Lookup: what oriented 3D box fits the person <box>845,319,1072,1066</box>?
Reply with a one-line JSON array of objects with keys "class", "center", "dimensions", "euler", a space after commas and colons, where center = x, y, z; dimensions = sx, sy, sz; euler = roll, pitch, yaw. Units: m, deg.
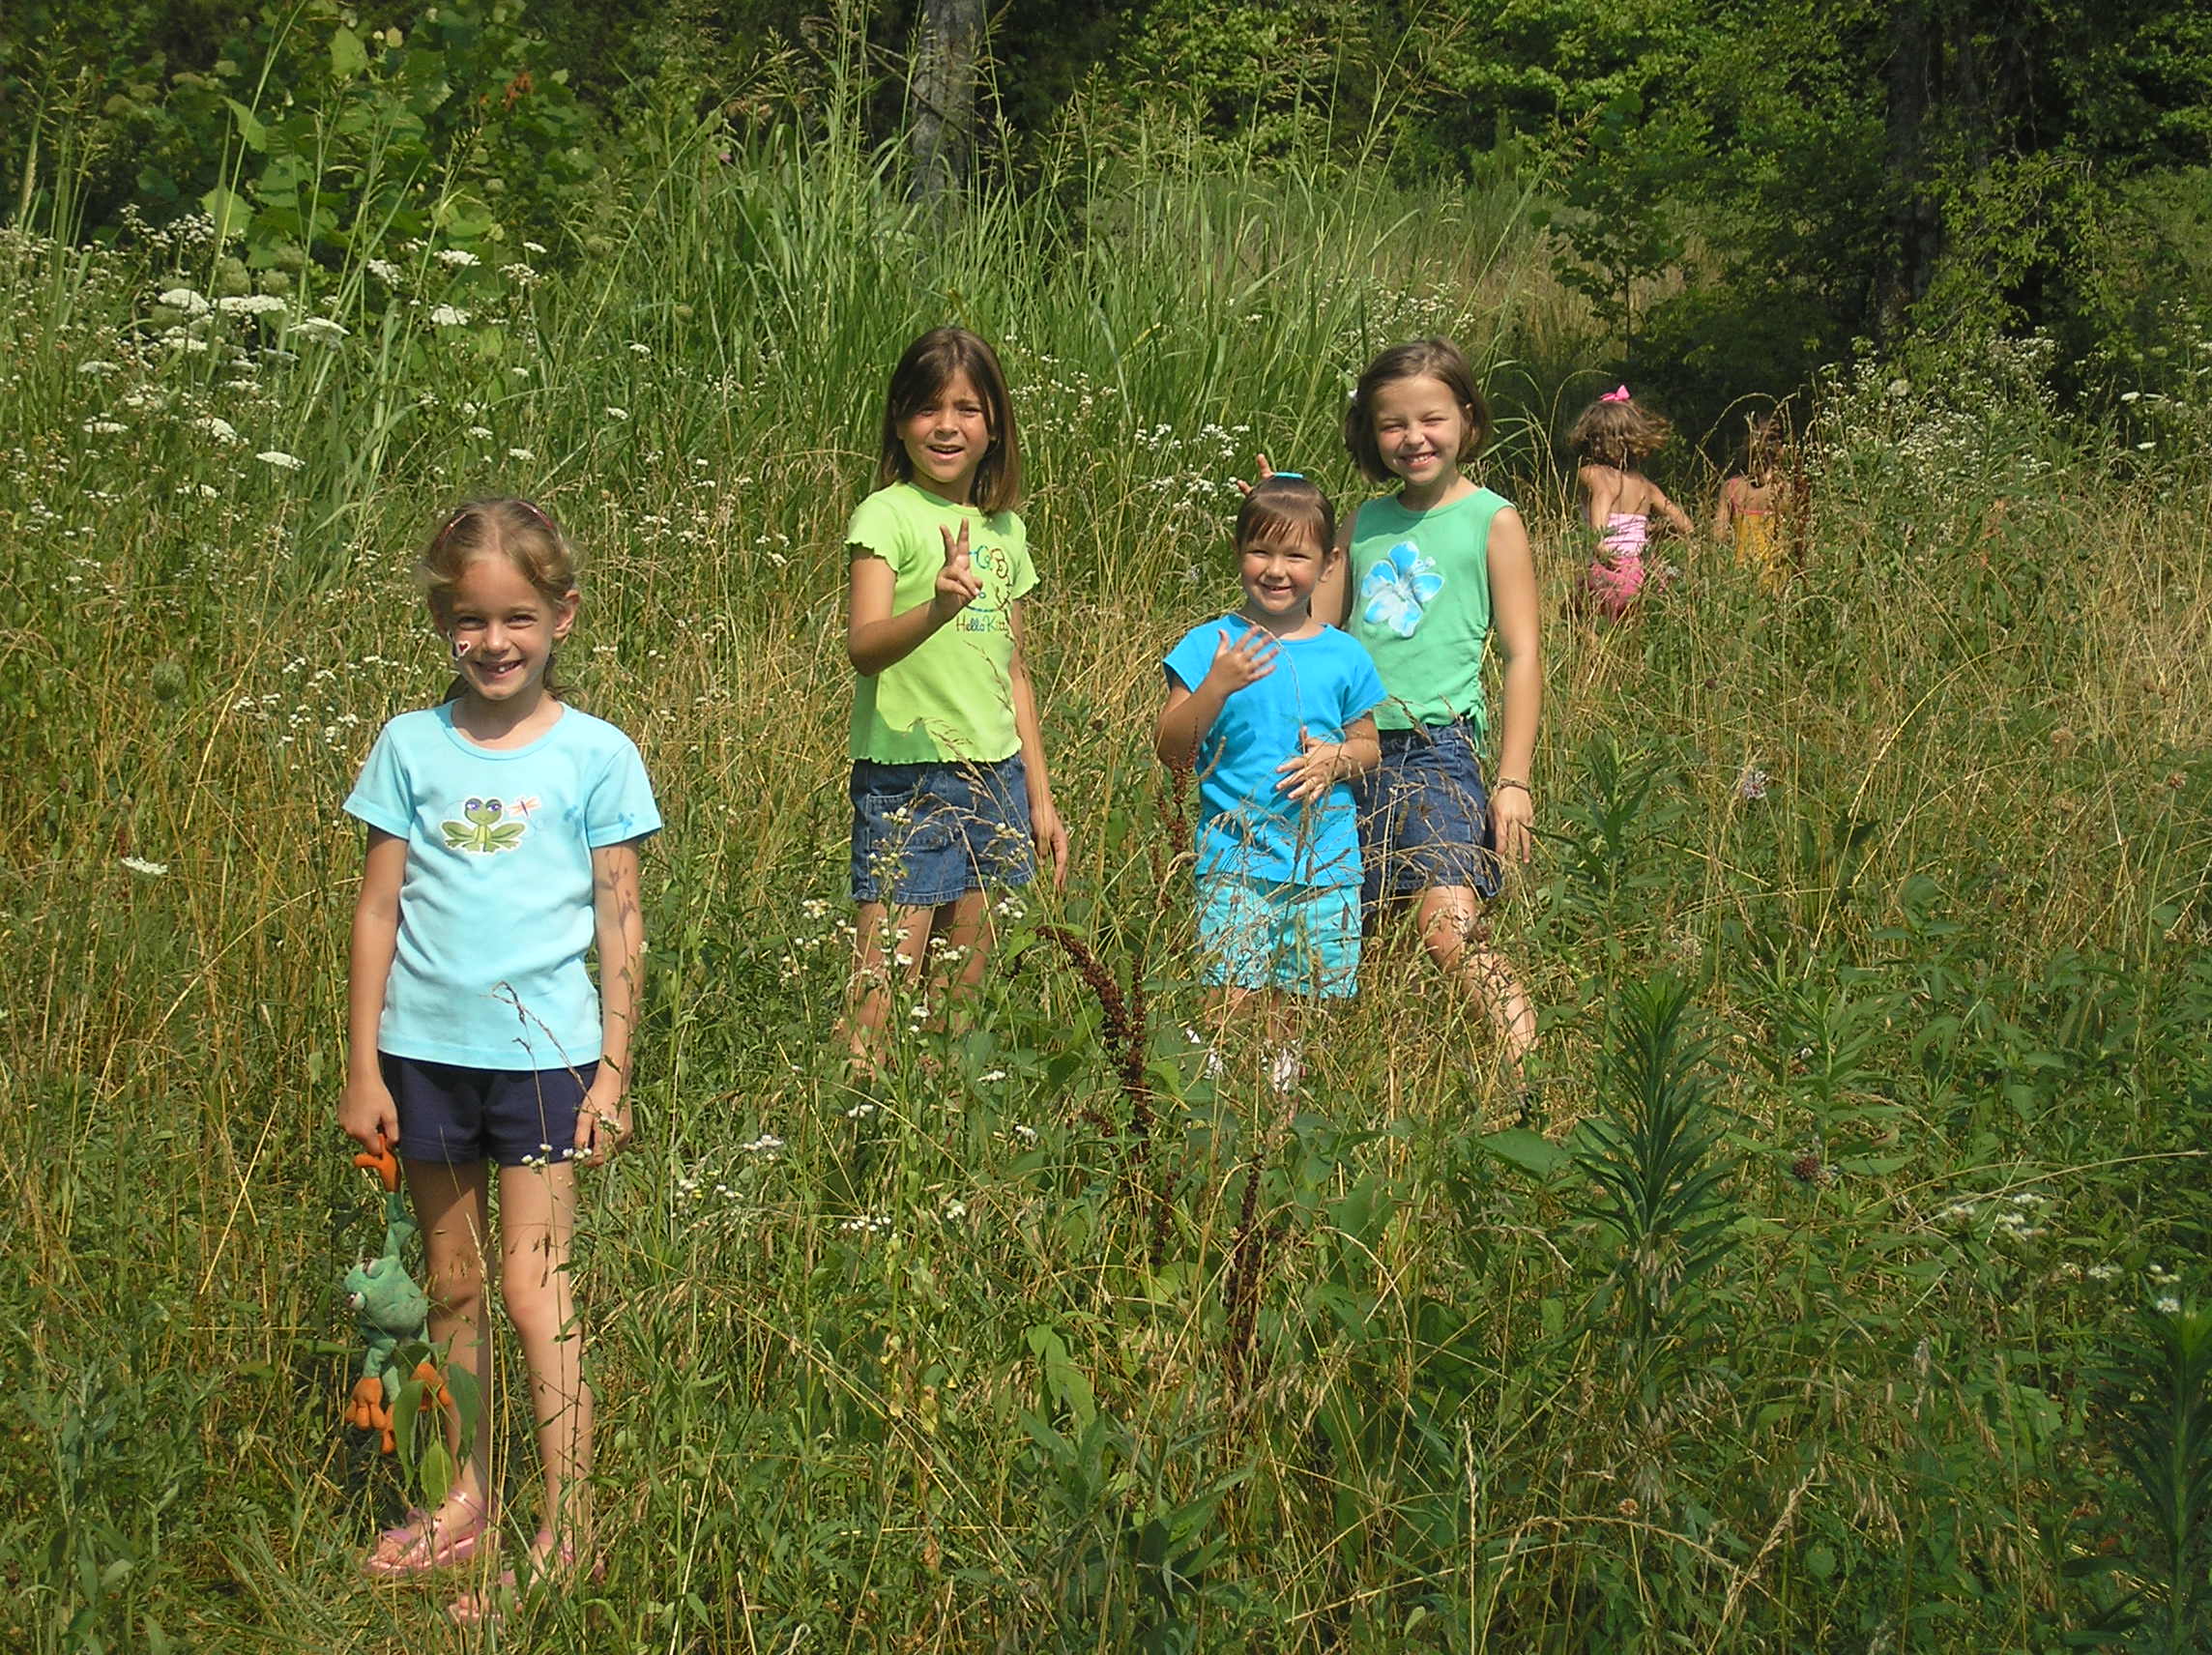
[{"class": "person", "center": [-0.360, -0.366, 5.636], "dimensions": [0.574, 1.613, 1.217], "euler": [2, 13, -4]}]

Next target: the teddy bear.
[{"class": "teddy bear", "center": [-1.377, 0.931, 4.617], "dimensions": [0.170, 0.623, 0.238], "euler": [3, 16, 0]}]

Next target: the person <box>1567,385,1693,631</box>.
[{"class": "person", "center": [2.180, -1.141, 9.617], "dimensions": [0.508, 1.383, 0.374], "euler": [4, -5, 9]}]

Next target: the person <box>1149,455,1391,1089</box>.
[{"class": "person", "center": [0.389, -0.242, 5.579], "dimensions": [0.553, 1.113, 1.273], "euler": [4, 14, 6]}]
